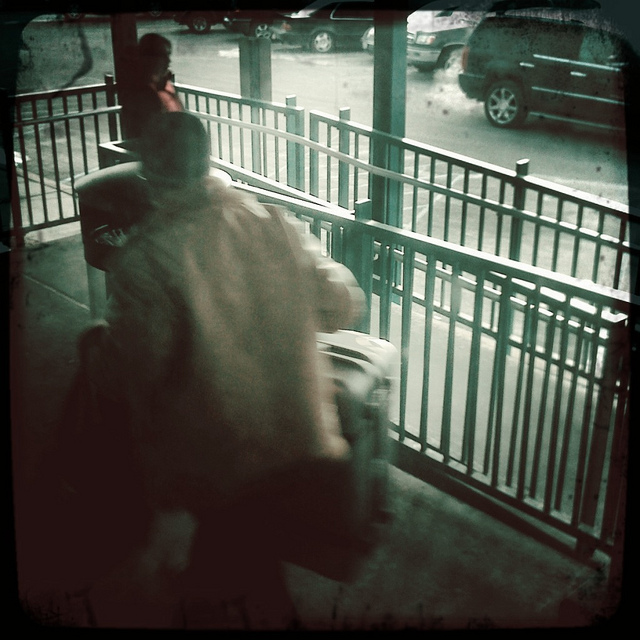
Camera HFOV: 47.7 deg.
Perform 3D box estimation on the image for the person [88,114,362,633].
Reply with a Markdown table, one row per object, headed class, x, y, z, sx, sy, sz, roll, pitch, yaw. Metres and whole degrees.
| class | x | y | z | sx | sy | sz | roll | pitch | yaw |
| --- | --- | --- | --- | --- | --- | --- | --- | --- | --- |
| person | -0.146 | 0.110 | 1.178 | 0.406 | 0.852 | 0.181 | 4 | 18 | 9 |
